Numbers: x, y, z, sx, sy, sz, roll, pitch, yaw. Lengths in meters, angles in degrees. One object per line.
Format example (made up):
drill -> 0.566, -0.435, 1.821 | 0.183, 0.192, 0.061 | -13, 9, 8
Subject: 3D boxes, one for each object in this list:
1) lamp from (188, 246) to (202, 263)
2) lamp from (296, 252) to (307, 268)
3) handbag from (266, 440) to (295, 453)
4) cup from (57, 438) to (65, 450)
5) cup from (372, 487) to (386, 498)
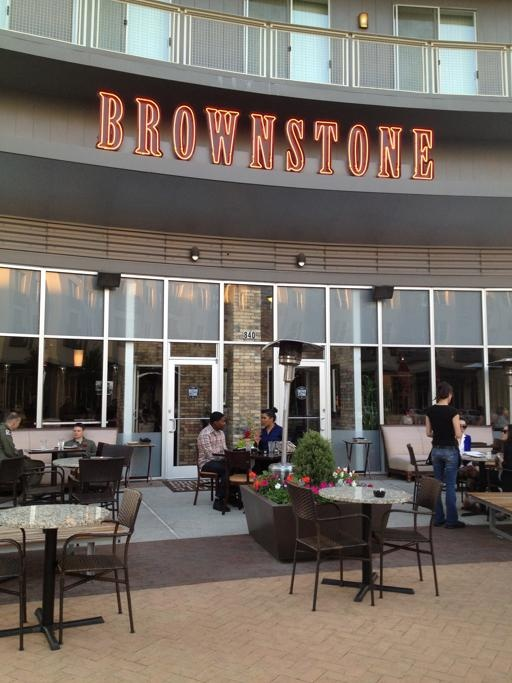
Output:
lamp -> -1.235, -1.738, 12.062 | 0.233, 0.314, 0.215 | 1, -6, -8
lamp -> 0.958, -1.693, 12.683 | 0.234, 0.309, 0.237 | 1, -6, -5
handbag -> 0.345, 1.494, 8.559 | 0.335, 0.163, 0.482 | 1, -3, 1
cup -> -3.225, 1.678, 9.835 | 0.113, 0.218, 0.115 | 2, -9, 0
cup -> 1.006, 1.235, 4.920 | 0.055, 0.055, 0.076 | 2, 2, 24
